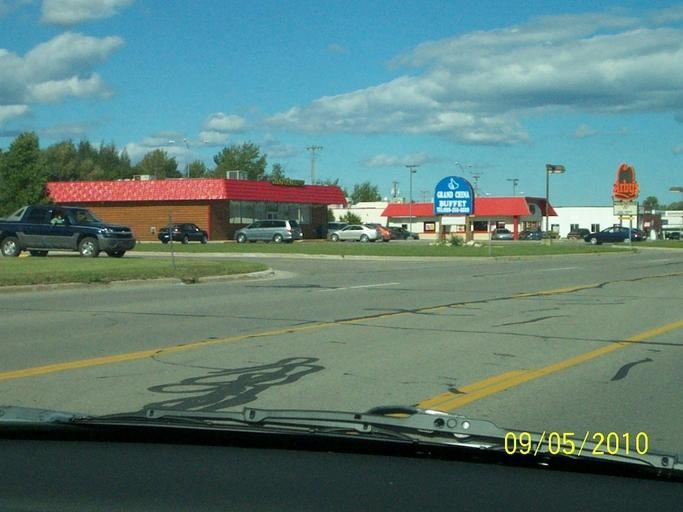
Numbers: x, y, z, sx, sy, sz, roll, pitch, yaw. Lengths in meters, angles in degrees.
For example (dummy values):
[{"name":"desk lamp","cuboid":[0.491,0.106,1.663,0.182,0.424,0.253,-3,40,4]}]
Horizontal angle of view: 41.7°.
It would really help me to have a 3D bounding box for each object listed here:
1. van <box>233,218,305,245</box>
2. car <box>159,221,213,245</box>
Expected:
[{"name":"van","cuboid":[-4.484,-1.504,53.949,3.471,1.073,1.601,3,3,22]},{"name":"car","cuboid":[-9.160,-1.310,51.865,2.555,1.171,1.501,-2,11,-9]}]
